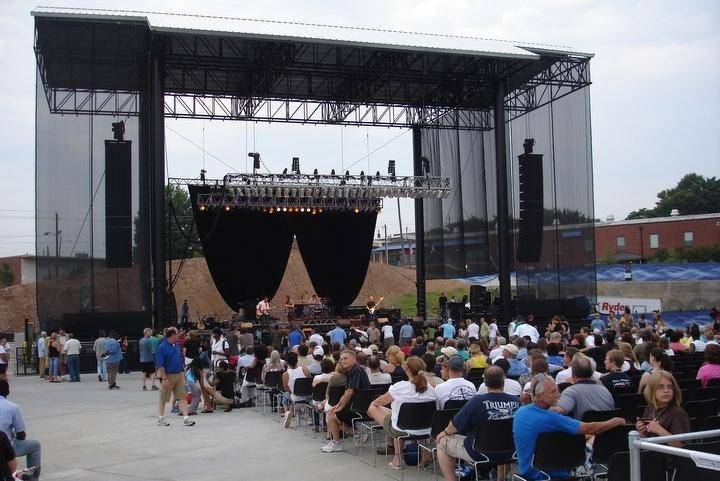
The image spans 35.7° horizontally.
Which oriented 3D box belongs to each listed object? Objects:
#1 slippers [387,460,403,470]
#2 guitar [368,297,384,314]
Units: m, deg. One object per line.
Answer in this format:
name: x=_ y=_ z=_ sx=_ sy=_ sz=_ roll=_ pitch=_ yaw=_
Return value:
slippers: x=1.055 y=6.827 z=34.069 sx=0.301 sy=0.190 sz=0.511 roll=1 pitch=1 yaw=-24
guitar: x=0.839 y=3.577 z=61.251 sx=0.163 sy=0.454 sz=1.172 roll=-31 pitch=3 yaw=15
